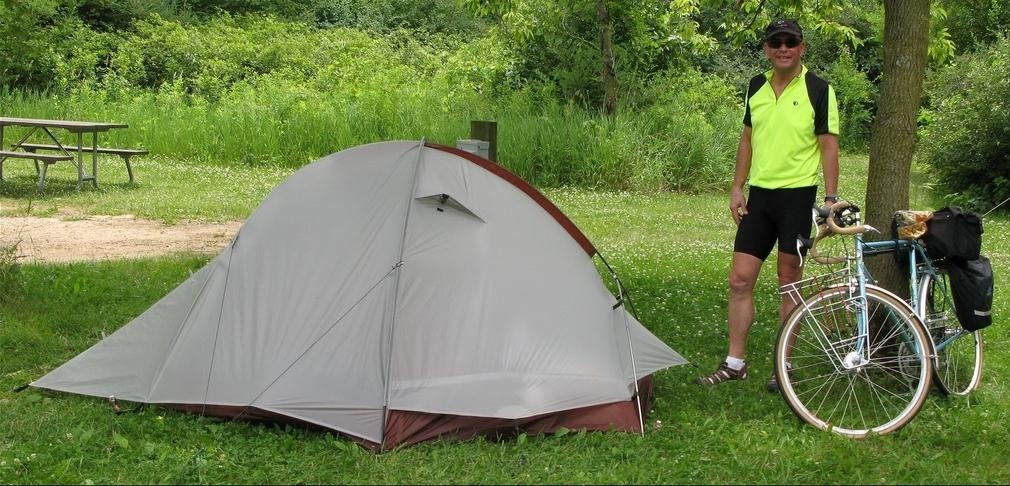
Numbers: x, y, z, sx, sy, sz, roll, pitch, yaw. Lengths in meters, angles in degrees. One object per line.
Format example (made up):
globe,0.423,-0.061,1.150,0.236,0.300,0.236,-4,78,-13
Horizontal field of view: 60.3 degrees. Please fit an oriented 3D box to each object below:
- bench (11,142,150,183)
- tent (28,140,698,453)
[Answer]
bench,-11.044,-1.971,23.128,3.554,0.772,0.554,-1,-15,20
tent,-1.032,1.071,15.694,6.530,2.771,7.485,6,7,43
